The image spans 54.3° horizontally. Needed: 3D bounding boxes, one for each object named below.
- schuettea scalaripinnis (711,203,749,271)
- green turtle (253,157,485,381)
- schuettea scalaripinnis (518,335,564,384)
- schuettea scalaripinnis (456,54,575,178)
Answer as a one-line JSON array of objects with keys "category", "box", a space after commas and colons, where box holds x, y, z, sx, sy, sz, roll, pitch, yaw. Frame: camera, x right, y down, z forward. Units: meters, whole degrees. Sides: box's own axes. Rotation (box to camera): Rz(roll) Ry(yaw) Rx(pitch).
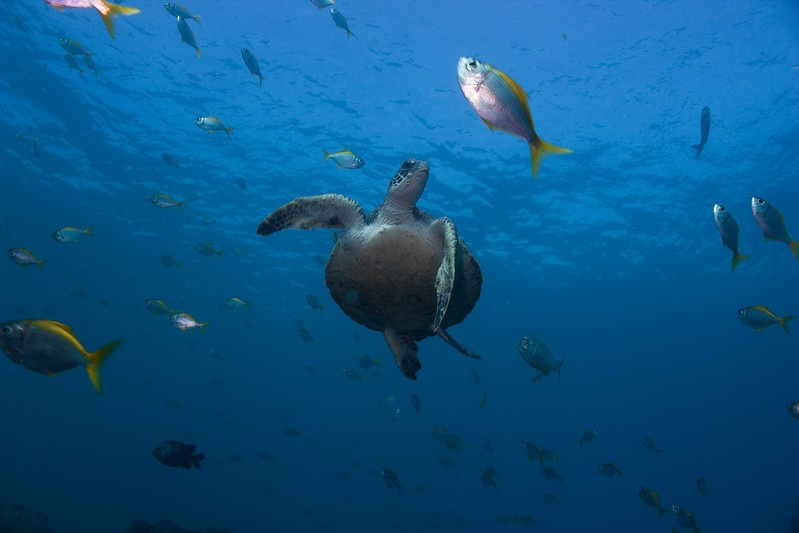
[{"category": "schuettea scalaripinnis", "box": [20.004, -1.867, 46.617, 2.222, 4.177, 2.166, 1, 6, 10]}, {"category": "green turtle", "box": [-0.770, 1.124, 45.889, 15.973, 12.237, 4.626, 7, 18, 14]}, {"category": "schuettea scalaripinnis", "box": [8.316, 5.512, 47.226, 2.987, 3.111, 3.381, -2, -6, 3]}, {"category": "schuettea scalaripinnis", "box": [6.325, -8.645, 43.336, 1.694, 7.968, 4.165, -28, -11, -28]}]
